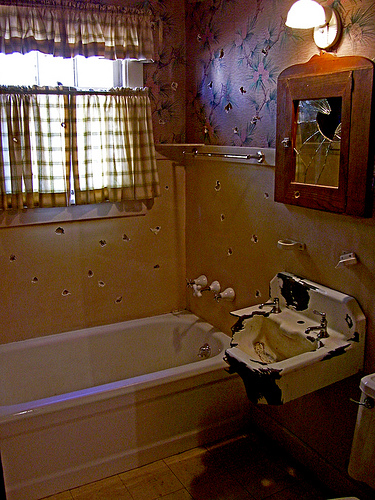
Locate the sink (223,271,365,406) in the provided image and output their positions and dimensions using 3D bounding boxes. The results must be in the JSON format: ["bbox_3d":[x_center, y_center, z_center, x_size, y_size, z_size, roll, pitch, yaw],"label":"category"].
[{"bbox_3d":[0.331,0.313,1.571,0.537,0.322,0.493,-6,10,-32],"label":"sink"}]

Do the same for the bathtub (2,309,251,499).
[{"bbox_3d":[-0.348,0.768,2.179,1.259,0.476,0.832,-6,10,-28],"label":"bathtub"}]
